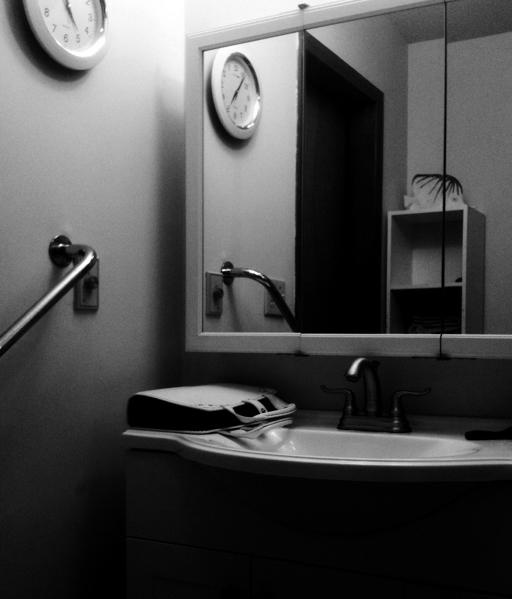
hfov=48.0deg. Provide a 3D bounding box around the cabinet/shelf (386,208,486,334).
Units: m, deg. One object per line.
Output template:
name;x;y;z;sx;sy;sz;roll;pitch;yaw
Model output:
cabinet/shelf;0.376;-0.057;1.166;0.169;0.440;0.119;-1;-5;27

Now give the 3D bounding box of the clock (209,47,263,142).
clock;-0.043;-0.492;1.382;0.169;0.301;0.020;0;1;22
